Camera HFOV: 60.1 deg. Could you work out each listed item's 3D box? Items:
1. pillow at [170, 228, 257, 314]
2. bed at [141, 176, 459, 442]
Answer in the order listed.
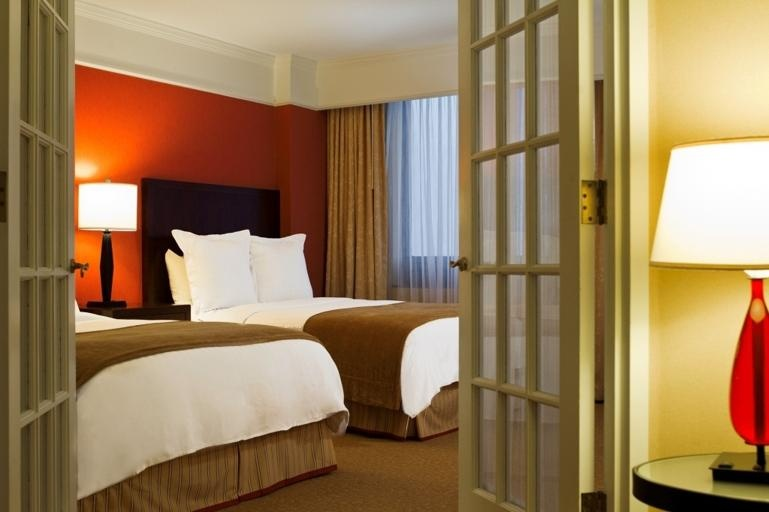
[{"bbox_3d":[-1.431,0.153,5.578,0.522,0.587,0.199,-13,-18,-27],"label":"pillow"},{"bbox_3d":[-0.469,0.302,5.604,2.391,1.818,1.810,-2,-2,30],"label":"bed"}]
